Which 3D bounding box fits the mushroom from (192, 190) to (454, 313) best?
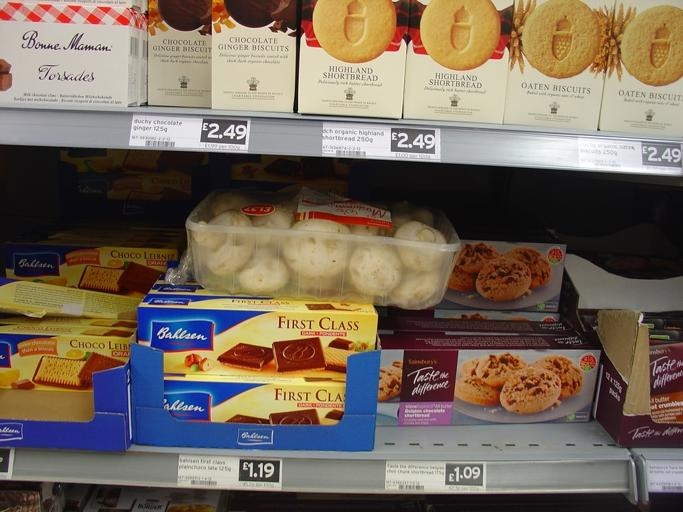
[{"bbox_3d":[-0.048,-0.011,1.555,0.715,0.274,0.252,1,20,2],"label":"mushroom"}]
